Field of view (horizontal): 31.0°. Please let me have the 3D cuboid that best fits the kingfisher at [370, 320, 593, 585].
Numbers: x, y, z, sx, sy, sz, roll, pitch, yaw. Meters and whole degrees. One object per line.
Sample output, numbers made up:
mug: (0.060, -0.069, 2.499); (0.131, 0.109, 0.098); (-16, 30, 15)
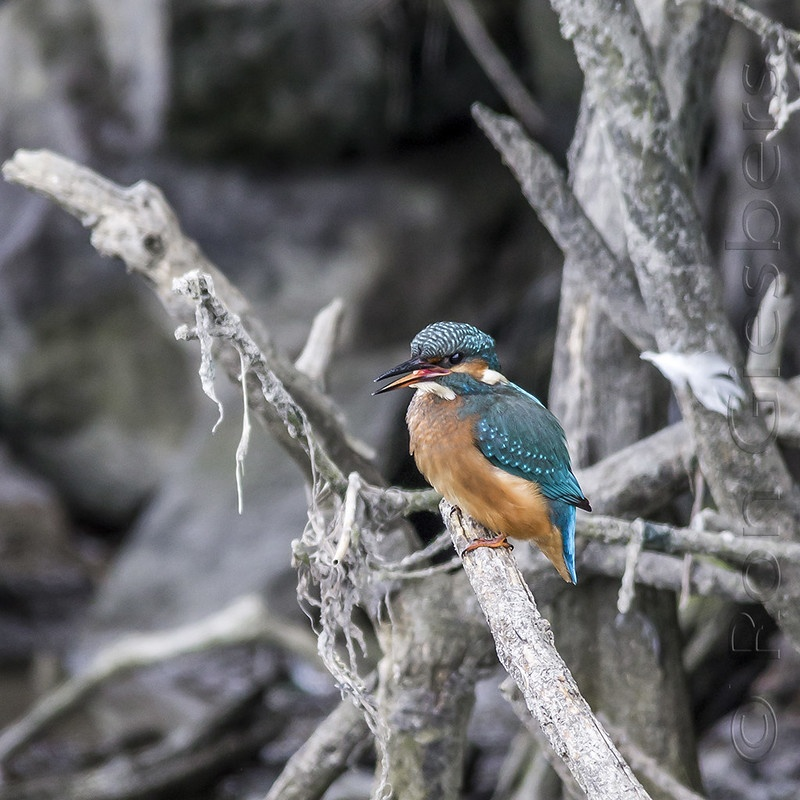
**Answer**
kingfisher: (0.250, 0.151, 3.866); (0.414, 0.736, 0.291); (-17, 23, 7)
